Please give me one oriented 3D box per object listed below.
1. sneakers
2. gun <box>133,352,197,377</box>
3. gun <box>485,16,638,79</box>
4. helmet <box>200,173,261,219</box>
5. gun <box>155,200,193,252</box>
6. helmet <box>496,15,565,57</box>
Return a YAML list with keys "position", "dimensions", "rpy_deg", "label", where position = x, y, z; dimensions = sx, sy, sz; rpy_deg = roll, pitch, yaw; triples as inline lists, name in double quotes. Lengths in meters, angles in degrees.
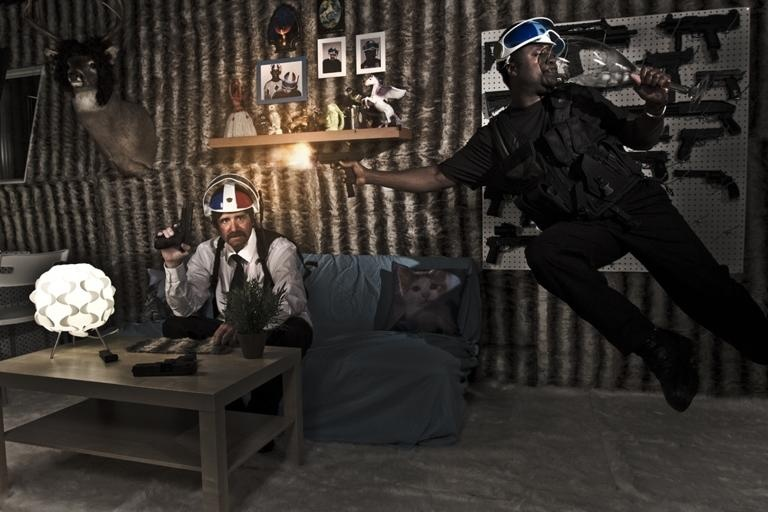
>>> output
- position: [1.491, 0.592, 3.205]
  dimensions: [0.287, 0.414, 0.149]
  rpy_deg: [0, 6, 3]
  label: "sneakers"
- position: [-1.182, 0.593, 3.313]
  dimensions: [0.329, 0.093, 0.145]
  rpy_deg: [-2, 6, -20]
  label: "gun"
- position: [1.052, -1.152, 3.546]
  dimensions: [0.916, 0.320, 0.434]
  rpy_deg: [4, 12, 7]
  label: "gun"
- position: [-1.101, -0.415, 4.364]
  dimensions: [0.392, 0.310, 0.433]
  rpy_deg: [-2, 7, 1]
  label: "helmet"
- position: [-1.299, -0.180, 3.777]
  dimensions: [0.219, 0.302, 0.256]
  rpy_deg: [-3, 6, -20]
  label: "gun"
- position: [0.807, -1.211, 3.396]
  dimensions: [0.245, 0.113, 0.282]
  rpy_deg: [-11, -2, -36]
  label: "helmet"
